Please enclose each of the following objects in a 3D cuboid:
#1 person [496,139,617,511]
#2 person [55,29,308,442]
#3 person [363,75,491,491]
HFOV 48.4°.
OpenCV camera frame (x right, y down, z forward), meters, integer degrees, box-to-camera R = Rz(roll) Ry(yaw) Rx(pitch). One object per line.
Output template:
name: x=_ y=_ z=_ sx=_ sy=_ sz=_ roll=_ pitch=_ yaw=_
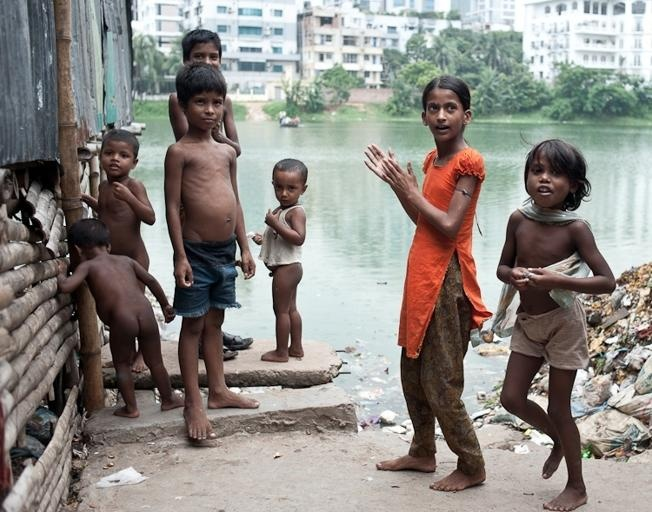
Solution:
person: x=1.002 y=0.283 z=3.283 sx=0.526 sy=1.613 sz=0.519 roll=8 pitch=13 yaw=31
person: x=-0.609 y=-0.039 z=3.816 sx=0.451 sy=1.940 sz=0.595 roll=9 pitch=14 yaw=37
person: x=0.494 y=0.140 z=3.385 sx=0.603 sy=1.940 sz=0.543 roll=3 pitch=11 yaw=10
